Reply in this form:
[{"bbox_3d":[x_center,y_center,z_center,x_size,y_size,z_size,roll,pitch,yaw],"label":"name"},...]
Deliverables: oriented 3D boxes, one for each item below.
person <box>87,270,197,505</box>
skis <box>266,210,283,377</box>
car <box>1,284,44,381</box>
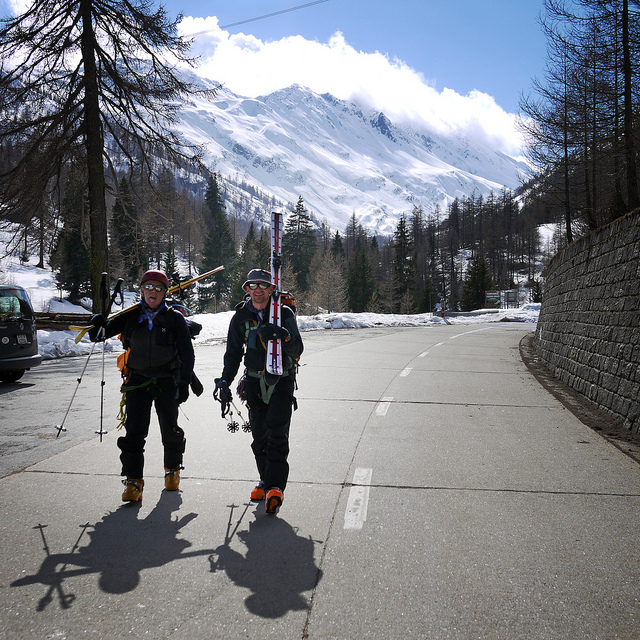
[{"bbox_3d":[-1.565,0.554,5.447,0.873,2.024,0.707,-2,2,-25],"label":"person"},{"bbox_3d":[-0.407,-0.336,5.508,0.120,1.765,0.116,3,-19,-18],"label":"skis"},{"bbox_3d":[-5.862,0.255,11.560,0.757,1.055,1.550,-4,14,-18],"label":"car"}]
